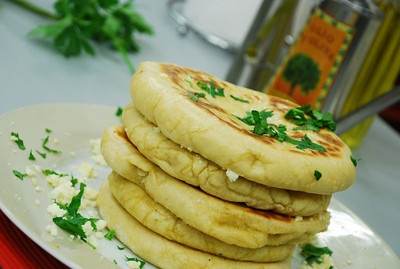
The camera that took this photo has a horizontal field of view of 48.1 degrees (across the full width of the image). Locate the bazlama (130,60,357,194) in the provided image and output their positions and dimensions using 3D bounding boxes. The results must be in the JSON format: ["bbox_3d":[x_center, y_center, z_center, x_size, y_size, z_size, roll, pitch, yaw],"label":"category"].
[{"bbox_3d":[0.140,-0.032,1.547,0.799,0.187,0.472,23,31,-12],"label":"bazlama"}]

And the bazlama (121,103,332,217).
[{"bbox_3d":[0.097,0.058,1.562,0.496,0.356,0.548,-8,10,-41],"label":"bazlama"}]
